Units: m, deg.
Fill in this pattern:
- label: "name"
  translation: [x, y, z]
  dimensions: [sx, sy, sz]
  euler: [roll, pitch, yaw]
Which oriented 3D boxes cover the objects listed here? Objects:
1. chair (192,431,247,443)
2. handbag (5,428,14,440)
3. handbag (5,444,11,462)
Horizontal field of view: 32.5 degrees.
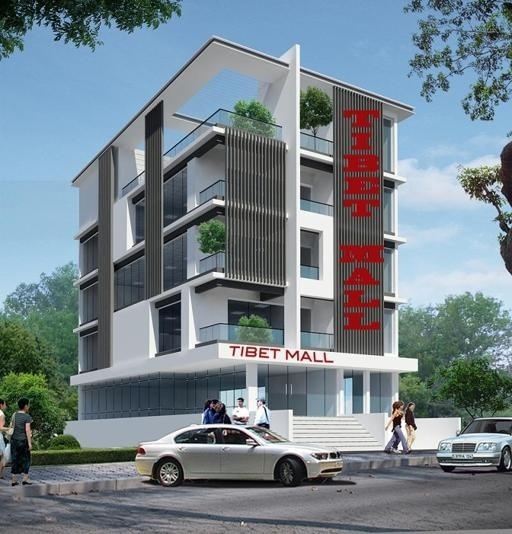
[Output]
- label: "chair"
  translation: [-0.757, 3.632, 18.629]
  dimensions: [1.157, 0.327, 0.347]
  euler: [-7, -13, 25]
- label: "handbag"
  translation: [-5.090, 3.449, 18.085]
  dimensions: [0.107, 0.235, 0.340]
  euler: [3, -12, -19]
- label: "handbag"
  translation: [-5.165, 3.858, 18.232]
  dimensions: [0.130, 0.366, 0.467]
  euler: [3, -12, -19]
